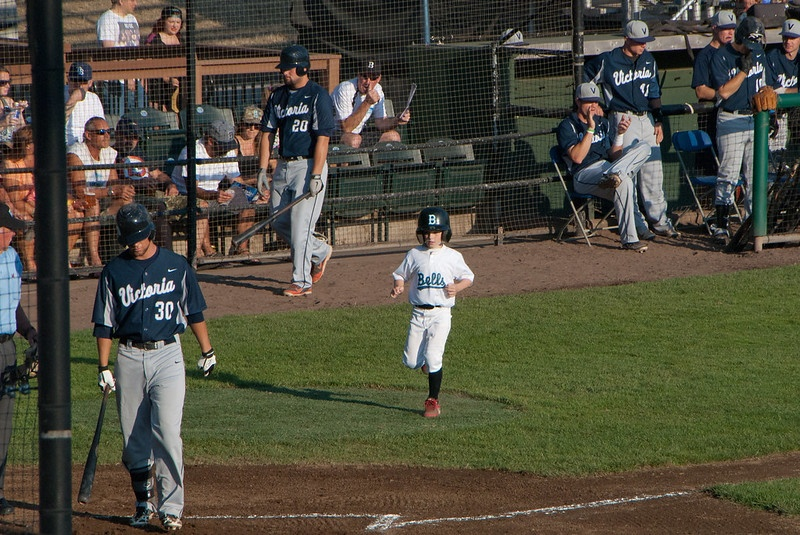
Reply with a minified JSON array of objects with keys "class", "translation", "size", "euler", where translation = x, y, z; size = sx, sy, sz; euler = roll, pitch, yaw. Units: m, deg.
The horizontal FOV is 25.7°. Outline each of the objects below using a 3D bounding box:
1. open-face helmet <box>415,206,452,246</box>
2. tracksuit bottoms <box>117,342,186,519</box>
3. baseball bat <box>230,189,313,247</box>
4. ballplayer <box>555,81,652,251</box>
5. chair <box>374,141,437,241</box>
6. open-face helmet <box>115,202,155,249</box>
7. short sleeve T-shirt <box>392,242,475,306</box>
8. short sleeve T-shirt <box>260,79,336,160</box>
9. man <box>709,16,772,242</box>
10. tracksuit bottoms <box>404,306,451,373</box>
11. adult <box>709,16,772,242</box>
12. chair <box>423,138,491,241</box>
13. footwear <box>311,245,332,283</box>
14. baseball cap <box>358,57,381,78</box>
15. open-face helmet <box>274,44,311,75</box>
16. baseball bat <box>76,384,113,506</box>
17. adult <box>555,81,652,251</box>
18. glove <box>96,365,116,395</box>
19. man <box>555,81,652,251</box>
[{"class":"open-face helmet","translation":[0.379,-0.499,20.079],"size":[0.330,0.335,0.411],"euler":[1,2,7]},{"class":"tracksuit bottoms","translation":[-2.608,1.678,18.302],"size":[0.712,1.770,0.471],"euler":[0,7,2]},{"class":"baseball bat","translation":[-1.685,-0.671,22.951],"size":[1.221,0.163,0.154],"euler":[-36,18,-22]},{"class":"ballplayer","translation":[2.718,-1.329,23.666],"size":[1.226,2.278,0.802],"euler":[1,7,5]},{"class":"chair","translation":[-0.080,-1.127,24.668],"size":[0.924,1.614,1.099],"euler":[2,18,11]},{"class":"open-face helmet","translation":[-2.766,-0.467,18.460],"size":[0.349,0.376,0.456],"euler":[-16,23,4]},{"class":"short sleeve T-shirt","translation":[0.385,0.119,20.609],"size":[0.797,0.615,0.299],"euler":[0,-6,4]},{"class":"short sleeve T-shirt","translation":[-1.304,-1.846,22.196],"size":[0.898,0.962,0.256],"euler":[3,7,23]},{"class":"man","translation":[4.510,-1.871,23.751],"size":[0.692,2.960,0.617],"euler":[1,7,9]},{"class":"tracksuit bottoms","translation":[0.290,0.814,19.900],"size":[0.448,0.778,0.273],"euler":[12,9,15]},{"class":"adult","translation":[4.504,-1.871,23.749],"size":[0.681,2.960,0.612],"euler":[1,7,9]},{"class":"chair","translation":[0.642,-1.281,25.189],"size":[1.110,1.566,0.909],"euler":[-5,11,-23]},{"class":"footwear","translation":[-1.082,-0.035,23.166],"size":[0.187,0.558,0.255],"euler":[25,14,17]},{"class":"baseball cap","translation":[-0.444,-2.758,24.653],"size":[0.277,0.248,0.429],"euler":[0,7,-4]},{"class":"open-face helmet","translation":[-1.341,-2.579,22.079],"size":[0.395,0.302,0.307],"euler":[-7,14,-35]},{"class":"baseball bat","translation":[-3.342,2.002,19.281],"size":[0.178,1.392,0.168],"euler":[20,-30,-12]},{"class":"adult","translation":[2.718,-1.330,23.667],"size":[1.226,2.278,0.801],"euler":[1,7,5]},{"class":"glove","translation":[-3.088,1.187,18.503],"size":[0.221,0.302,0.109],"euler":[-15,-2,-23]},{"class":"man","translation":[2.718,-1.330,23.667],"size":[1.225,2.278,0.801],"euler":[1,7,5]}]
